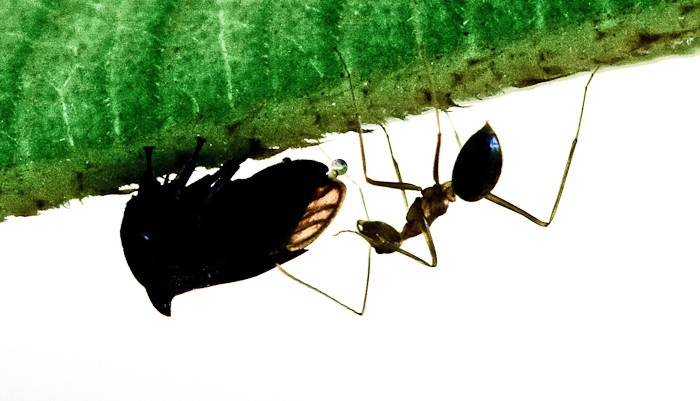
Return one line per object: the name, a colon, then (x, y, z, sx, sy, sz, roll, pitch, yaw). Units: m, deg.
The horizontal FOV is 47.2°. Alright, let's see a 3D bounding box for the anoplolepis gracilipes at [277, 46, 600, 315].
anoplolepis gracilipes: (0.682, -0.068, 6.658, 2.063, 1.932, 0.730, -26, -87, 14)
